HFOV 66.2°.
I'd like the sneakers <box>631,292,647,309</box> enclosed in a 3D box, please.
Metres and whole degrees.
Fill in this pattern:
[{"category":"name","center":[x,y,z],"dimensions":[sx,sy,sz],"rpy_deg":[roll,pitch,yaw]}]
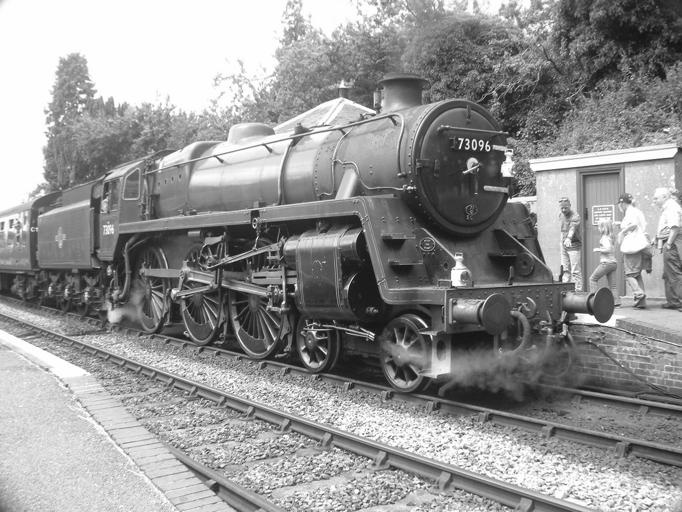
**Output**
[{"category":"sneakers","center":[5.302,0.795,9.256],"dimensions":[0.194,0.273,0.228],"rpy_deg":[-2,-1,25]}]

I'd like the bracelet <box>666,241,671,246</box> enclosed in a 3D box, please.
[{"category":"bracelet","center":[5.534,-0.193,8.805],"dimensions":[0.056,0.151,0.057],"rpy_deg":[0,1,-17]}]
